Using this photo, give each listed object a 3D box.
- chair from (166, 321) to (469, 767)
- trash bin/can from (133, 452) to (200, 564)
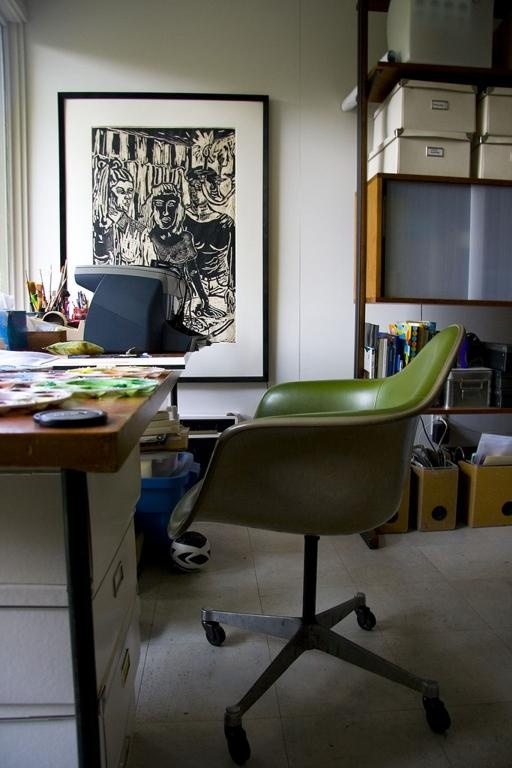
[{"bbox_3d":[0.124,0.244,1.555,0.711,0.994,0.818,1,7,1],"label":"chair"},{"bbox_3d":[-0.290,0.398,2.087,0.231,0.233,0.348,0,4,2],"label":"trash bin/can"}]
